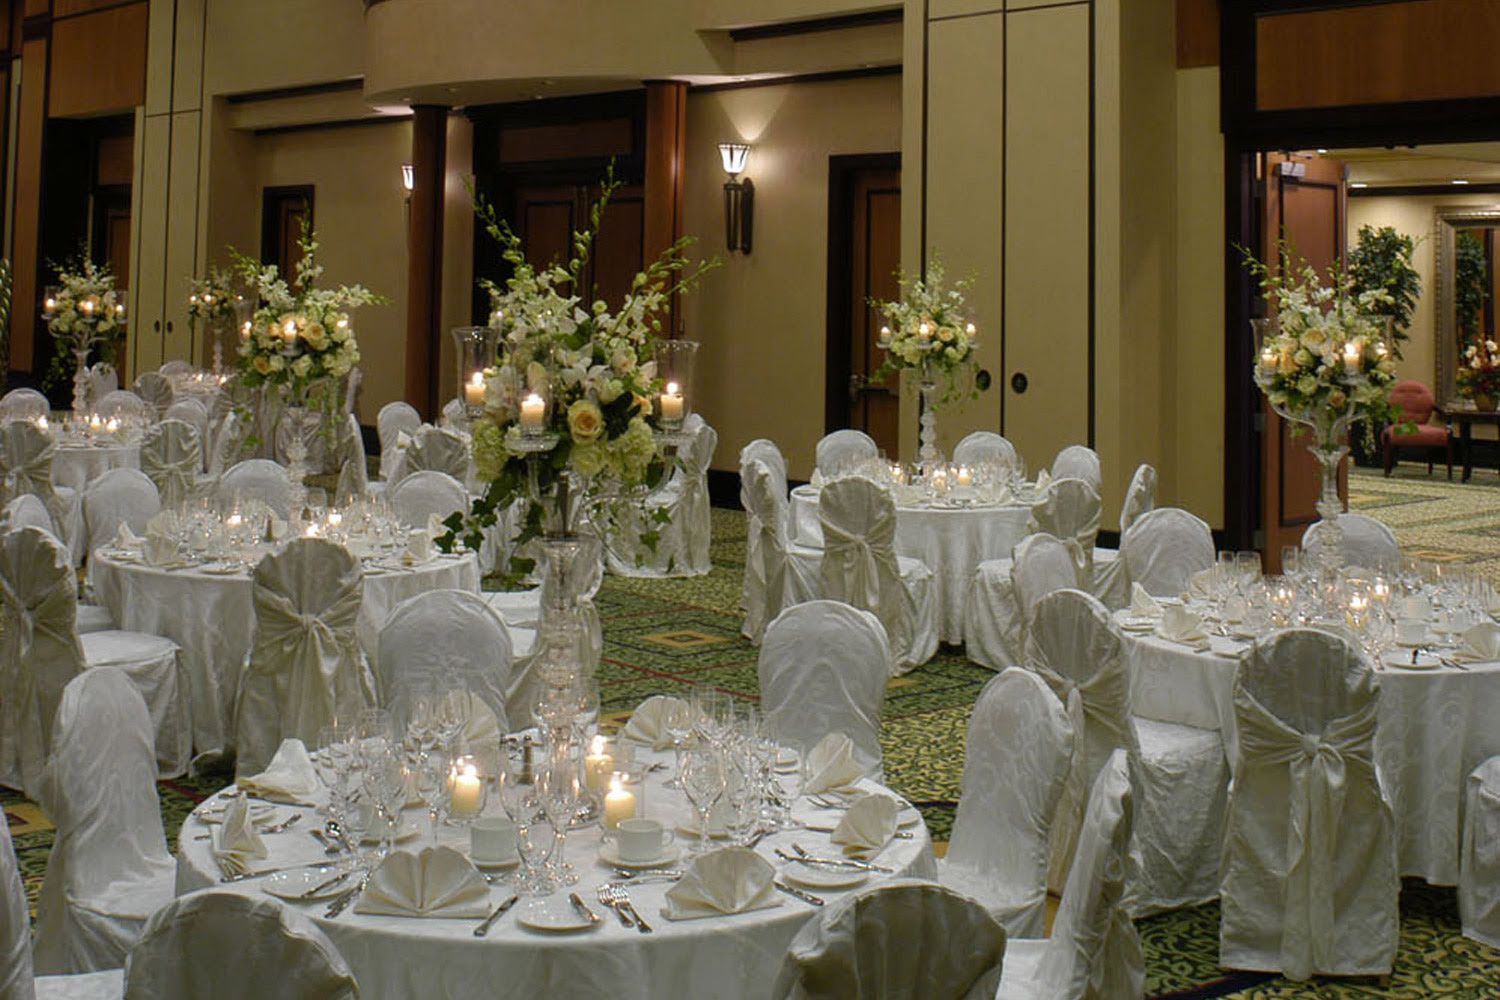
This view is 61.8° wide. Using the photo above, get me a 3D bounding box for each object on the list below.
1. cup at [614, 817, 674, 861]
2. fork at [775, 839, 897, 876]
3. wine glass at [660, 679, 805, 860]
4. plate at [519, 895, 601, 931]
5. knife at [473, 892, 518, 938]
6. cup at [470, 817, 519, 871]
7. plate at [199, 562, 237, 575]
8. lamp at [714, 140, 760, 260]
[{"bbox_3d":[-0.299,0.963,3.552,0.175,0.113,0.127,0,4,-18],"label":"cup"},{"bbox_3d":[0.257,1.024,3.563,0.048,0.059,0.358,-17,10,-31],"label":"fork"},{"bbox_3d":[-0.041,0.796,3.709,0.333,0.403,0.429,1,3,2],"label":"wine glass"},{"bbox_3d":[-0.505,1.087,3.302,0.225,0.055,0.155,0,4,-8],"label":"plate"},{"bbox_3d":[-0.667,1.095,3.291,0.033,0.012,0.208,16,17,10],"label":"knife"},{"bbox_3d":[-0.714,0.965,3.494,0.111,0.110,0.126,-2,1,-3],"label":"cup"},{"bbox_3d":[-2.603,0.336,6.110,0.235,0.043,0.152,3,5,30],"label":"plate"},{"bbox_3d":[-0.093,-2.951,12.228,0.316,1.101,0.383,1,3,1],"label":"lamp"}]
